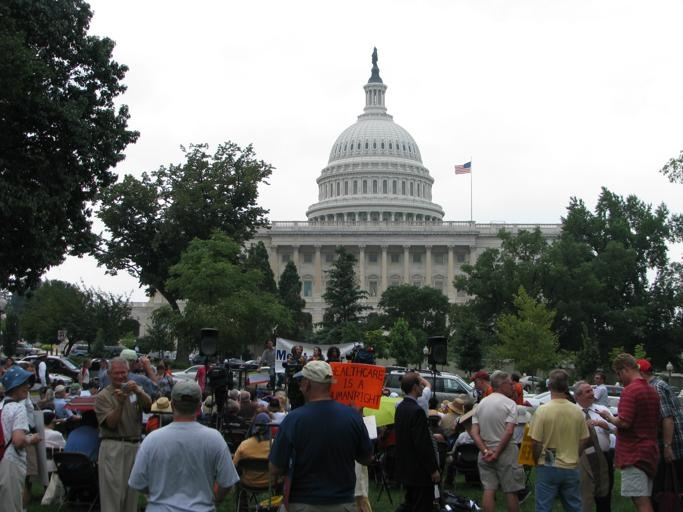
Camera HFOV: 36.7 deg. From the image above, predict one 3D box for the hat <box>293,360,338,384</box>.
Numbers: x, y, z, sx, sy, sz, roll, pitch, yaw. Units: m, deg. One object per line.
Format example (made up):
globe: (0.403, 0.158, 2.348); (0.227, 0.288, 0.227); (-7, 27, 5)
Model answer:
hat: (-0.396, 1.891, 16.826); (0.454, 0.237, 0.326); (6, -1, 19)

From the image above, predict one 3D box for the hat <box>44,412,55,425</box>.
hat: (-6.210, 3.458, 21.849); (0.225, 0.281, 0.225); (5, -12, -16)

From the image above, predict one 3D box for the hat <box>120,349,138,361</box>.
hat: (-4.091, 1.935, 19.771); (0.290, 0.268, 0.223); (-9, 12, -5)

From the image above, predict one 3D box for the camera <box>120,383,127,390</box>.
camera: (-3.919, 2.348, 18.601); (0.029, 0.110, 0.110); (-2, 6, 41)

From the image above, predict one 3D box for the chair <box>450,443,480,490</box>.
chair: (2.745, 4.540, 22.602); (0.671, 1.149, 0.844); (1, 8, 5)

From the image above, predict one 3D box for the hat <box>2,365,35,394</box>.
hat: (-5.939, 2.233, 18.786); (0.524, 0.279, 0.438); (-27, 8, 39)

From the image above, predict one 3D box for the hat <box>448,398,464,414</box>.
hat: (2.612, 3.449, 23.537); (0.356, 0.432, 0.724); (1, -12, 5)

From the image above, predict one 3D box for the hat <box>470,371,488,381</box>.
hat: (2.894, 2.489, 21.480); (0.288, 0.154, 0.208); (5, -10, 12)

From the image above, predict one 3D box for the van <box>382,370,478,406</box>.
van: (3.016, 5.218, 37.531); (3.773, 1.861, 1.971); (-1, -4, 3)

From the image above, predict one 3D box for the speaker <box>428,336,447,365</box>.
speaker: (2.225, 2.179, 23.864); (0.428, 0.654, 0.703); (1, -12, 4)
